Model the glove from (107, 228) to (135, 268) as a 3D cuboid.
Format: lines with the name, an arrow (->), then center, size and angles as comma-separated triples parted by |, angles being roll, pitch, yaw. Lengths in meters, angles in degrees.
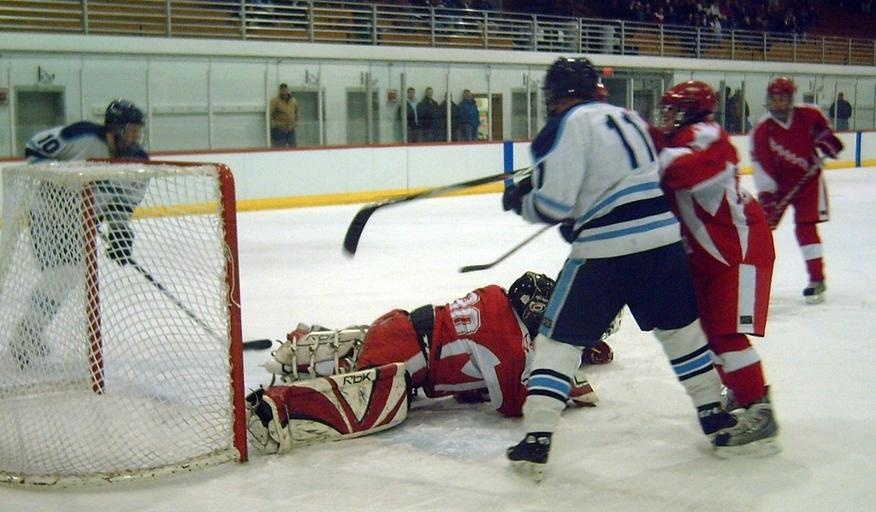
glove -> -2.403, -0.059, 7.221 | 0.073, 0.271, 0.290 | -7, -26, 22

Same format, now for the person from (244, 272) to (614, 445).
person -> -0.261, 0.513, 6.829 | 1.933, 0.588, 1.417 | -6, 9, -5

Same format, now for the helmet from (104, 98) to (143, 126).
helmet -> -2.485, -1.124, 7.638 | 0.282, 0.231, 0.209 | 7, 37, -30

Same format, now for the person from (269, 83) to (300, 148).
person -> -2.474, -2.262, 15.357 | 0.462, 1.001, 0.234 | -3, 9, -8

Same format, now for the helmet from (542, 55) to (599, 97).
helmet -> 0.892, -1.207, 6.407 | 0.338, 0.263, 0.264 | -1, 6, -6

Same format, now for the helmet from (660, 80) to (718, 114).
helmet -> 1.797, -1.136, 6.766 | 0.329, 0.241, 0.240 | 15, 20, 25

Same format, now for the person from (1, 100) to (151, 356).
person -> -2.694, -0.256, 7.247 | 1.011, 1.854, 1.253 | -5, 9, -16

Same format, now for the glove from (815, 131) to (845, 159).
glove -> 3.592, -1.016, 8.861 | 0.288, 0.253, 0.067 | -13, -10, -26
